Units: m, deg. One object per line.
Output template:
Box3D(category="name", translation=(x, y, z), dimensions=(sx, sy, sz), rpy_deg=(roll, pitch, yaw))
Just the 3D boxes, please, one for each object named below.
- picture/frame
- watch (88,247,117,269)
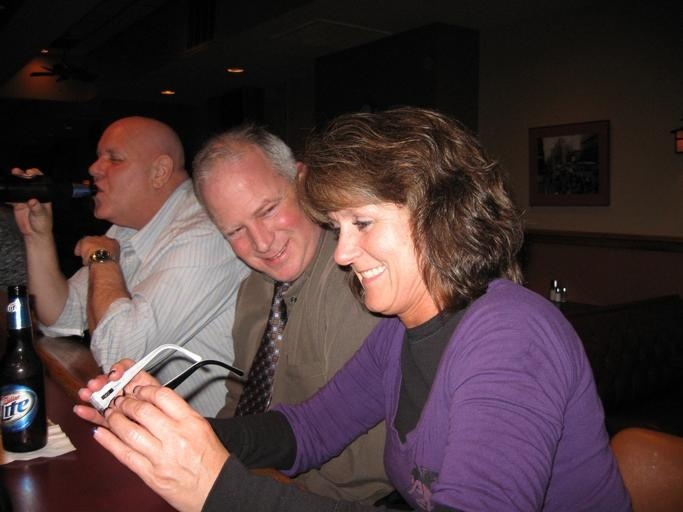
Box3D(category="picture/frame", translation=(1.732, -0.700, 4.363), dimensions=(0.024, 0.634, 0.652), rpy_deg=(-12, 12, -37))
Box3D(category="watch", translation=(-1.046, 0.002, 2.480), dimensions=(0.094, 0.059, 0.094), rpy_deg=(-30, 5, 33))
